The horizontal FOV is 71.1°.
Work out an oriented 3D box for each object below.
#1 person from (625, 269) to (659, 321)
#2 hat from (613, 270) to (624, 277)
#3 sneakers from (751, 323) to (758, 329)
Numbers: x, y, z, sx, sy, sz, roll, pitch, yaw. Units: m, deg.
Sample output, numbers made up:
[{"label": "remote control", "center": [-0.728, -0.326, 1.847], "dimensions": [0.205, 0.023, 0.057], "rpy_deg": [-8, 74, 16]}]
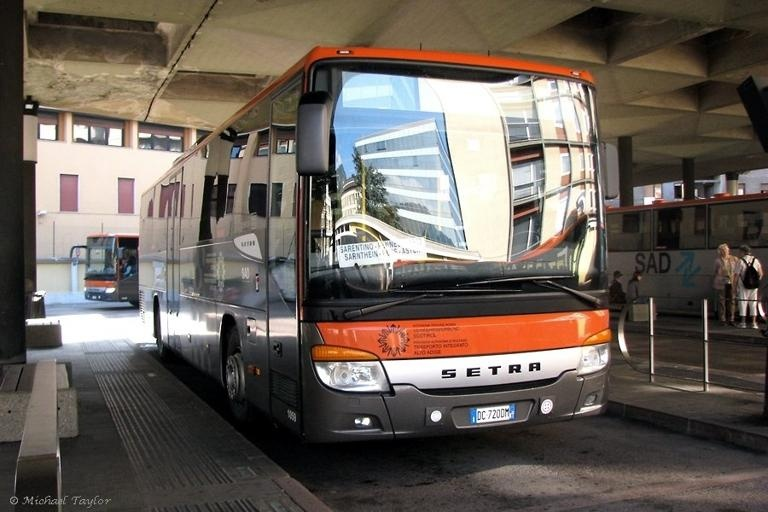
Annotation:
[{"label": "person", "center": [4.685, 0.706, 9.954], "dimensions": [0.738, 0.842, 0.737], "rpy_deg": [10, 14, 34]}, {"label": "hat", "center": [9.582, 0.746, 22.080], "dimensions": [0.483, 0.265, 0.614], "rpy_deg": [1, -6, 12]}, {"label": "sneakers", "center": [6.777, 1.288, 9.847], "dimensions": [0.071, 0.078, 0.193], "rpy_deg": [-1, -7, 11]}]
